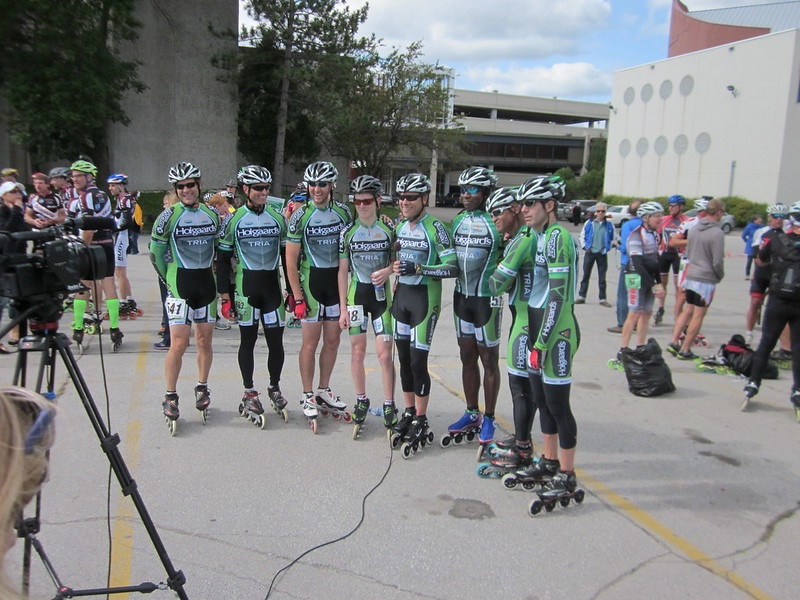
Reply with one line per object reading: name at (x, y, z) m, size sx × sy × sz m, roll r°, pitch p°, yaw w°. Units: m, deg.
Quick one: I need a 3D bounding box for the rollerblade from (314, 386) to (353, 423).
rollerblade at (-0.780, 1.194, 8.974) m, size 0.631 × 0.313 × 0.220 m, roll 18°, pitch 19°, yaw 14°

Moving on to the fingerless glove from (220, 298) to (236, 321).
fingerless glove at (-2.027, 0.097, 8.740) m, size 0.215 × 0.161 × 0.107 m, roll 27°, pitch 45°, yaw 1°

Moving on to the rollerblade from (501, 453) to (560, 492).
rollerblade at (1.345, 1.745, 7.564) m, size 0.671 × 0.319 × 0.249 m, roll -3°, pitch 4°, yaw 6°

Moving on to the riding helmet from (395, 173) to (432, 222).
riding helmet at (0.148, -1.127, 8.182) m, size 0.372 × 0.506 × 0.501 m, roll 0°, pitch 5°, yaw 17°

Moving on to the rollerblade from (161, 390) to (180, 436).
rollerblade at (-2.560, 1.248, 8.418) m, size 0.164 × 0.531 × 0.238 m, roll 11°, pitch -21°, yaw -36°

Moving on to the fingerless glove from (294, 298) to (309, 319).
fingerless glove at (-1.118, 0.100, 8.480) m, size 0.134 × 0.201 × 0.087 m, roll -2°, pitch 4°, yaw 12°

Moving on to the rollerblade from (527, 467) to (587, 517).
rollerblade at (1.533, 1.839, 7.295) m, size 0.654 × 0.393 × 0.156 m, roll -4°, pitch 13°, yaw -18°

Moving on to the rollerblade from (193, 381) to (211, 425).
rollerblade at (-2.277, 1.191, 8.690) m, size 0.156 × 0.466 × 0.209 m, roll 1°, pitch -2°, yaw -17°

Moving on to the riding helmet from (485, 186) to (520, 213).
riding helmet at (1.083, -1.042, 7.899) m, size 0.325 × 0.295 × 0.257 m, roll 2°, pitch 13°, yaw 6°

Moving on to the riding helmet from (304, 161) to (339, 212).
riding helmet at (-0.958, -1.343, 8.758) m, size 0.381 × 0.528 × 0.510 m, roll 0°, pitch 8°, yaw 5°

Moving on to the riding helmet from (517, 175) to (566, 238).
riding helmet at (1.448, -0.963, 7.372) m, size 0.513 × 0.548 × 0.429 m, roll -5°, pitch 6°, yaw -9°

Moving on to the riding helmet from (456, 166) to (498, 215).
riding helmet at (0.872, -1.205, 8.228) m, size 0.375 × 0.494 × 0.490 m, roll -2°, pitch -10°, yaw 23°

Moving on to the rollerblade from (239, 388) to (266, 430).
rollerblade at (-1.775, 1.241, 8.622) m, size 0.184 × 0.321 × 0.550 m, roll -9°, pitch 17°, yaw -35°

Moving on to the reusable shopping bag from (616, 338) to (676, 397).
reusable shopping bag at (3.203, 0.886, 9.978) m, size 0.579 × 0.788 × 0.746 m, roll -13°, pitch 8°, yaw -9°

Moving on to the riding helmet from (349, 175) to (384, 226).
riding helmet at (-0.349, -1.126, 8.423) m, size 0.315 × 0.566 × 0.320 m, roll -12°, pitch -6°, yaw -38°

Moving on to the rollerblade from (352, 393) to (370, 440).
rollerblade at (-0.465, 1.282, 8.491) m, size 0.155 × 0.522 × 0.209 m, roll 7°, pitch 7°, yaw 26°
